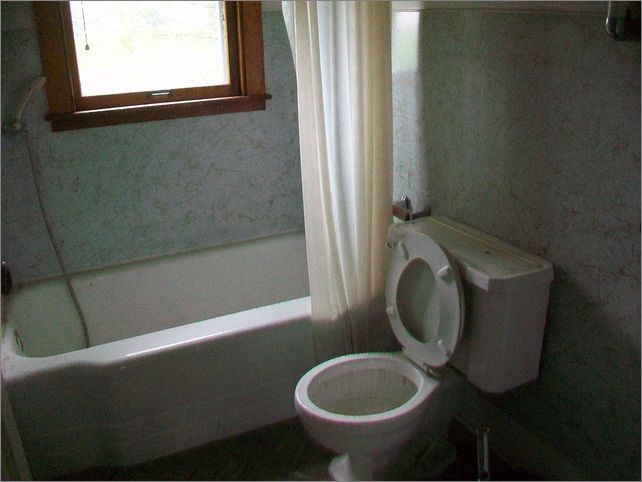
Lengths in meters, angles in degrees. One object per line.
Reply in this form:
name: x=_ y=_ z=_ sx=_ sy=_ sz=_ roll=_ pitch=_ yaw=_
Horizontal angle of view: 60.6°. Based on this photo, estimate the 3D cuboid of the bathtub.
bathtub: x=-0.737 y=0.444 z=2.544 sx=1.268 sy=0.515 sz=0.978 roll=-13 pitch=27 yaw=-17
